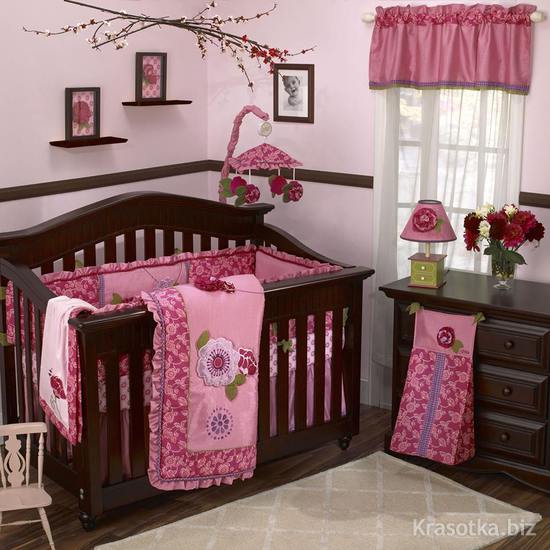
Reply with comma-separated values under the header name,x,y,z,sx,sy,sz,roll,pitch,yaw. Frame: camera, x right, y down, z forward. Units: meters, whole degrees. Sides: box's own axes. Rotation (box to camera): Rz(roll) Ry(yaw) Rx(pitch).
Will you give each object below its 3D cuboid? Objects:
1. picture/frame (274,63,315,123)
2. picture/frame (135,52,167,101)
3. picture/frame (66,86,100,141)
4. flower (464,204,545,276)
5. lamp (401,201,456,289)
name,x,y,z,sx,sy,sz,roll,pitch,yaw
picture/frame,0.107,-0.937,2.895,0.267,0.338,0.032,8,13,39
picture/frame,-0.620,-0.986,2.808,0.020,0.295,0.236,6,10,36
picture/frame,-0.858,-0.718,2.512,0.032,0.256,0.207,13,20,35
flower,0.936,-0.146,2.331,0.281,0.299,0.280,4,7,43
lamp,0.647,-0.135,2.374,0.205,0.366,0.201,-13,20,-26
